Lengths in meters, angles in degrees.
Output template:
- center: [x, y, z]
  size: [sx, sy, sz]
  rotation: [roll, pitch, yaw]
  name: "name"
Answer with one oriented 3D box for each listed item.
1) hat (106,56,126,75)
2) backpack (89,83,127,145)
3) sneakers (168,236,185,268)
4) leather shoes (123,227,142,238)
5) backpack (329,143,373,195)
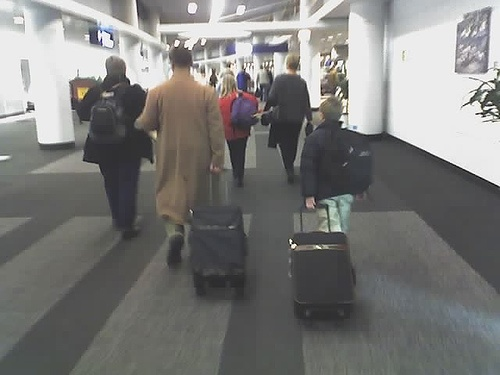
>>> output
- center: [-1.131, -1.038, 3.367]
  size: [0.117, 0.171, 0.166]
  rotation: [-1, 29, -6]
  name: "hat"
- center: [-1.249, -0.620, 3.439]
  size: [0.326, 0.570, 0.293]
  rotation: [0, -9, -9]
  name: "backpack"
- center: [-0.616, 0.512, 3.204]
  size: [0.107, 0.324, 0.129]
  rotation: [5, 13, -16]
  name: "sneakers"
- center: [-1.175, 0.453, 3.878]
  size: [0.130, 0.103, 0.045]
  rotation: [-3, -27, 1]
  name: "leather shoes"
- center: [0.718, -0.128, 2.792]
  size: [0.303, 0.377, 0.065]
  rotation: [-3, 14, -5]
  name: "backpack"
